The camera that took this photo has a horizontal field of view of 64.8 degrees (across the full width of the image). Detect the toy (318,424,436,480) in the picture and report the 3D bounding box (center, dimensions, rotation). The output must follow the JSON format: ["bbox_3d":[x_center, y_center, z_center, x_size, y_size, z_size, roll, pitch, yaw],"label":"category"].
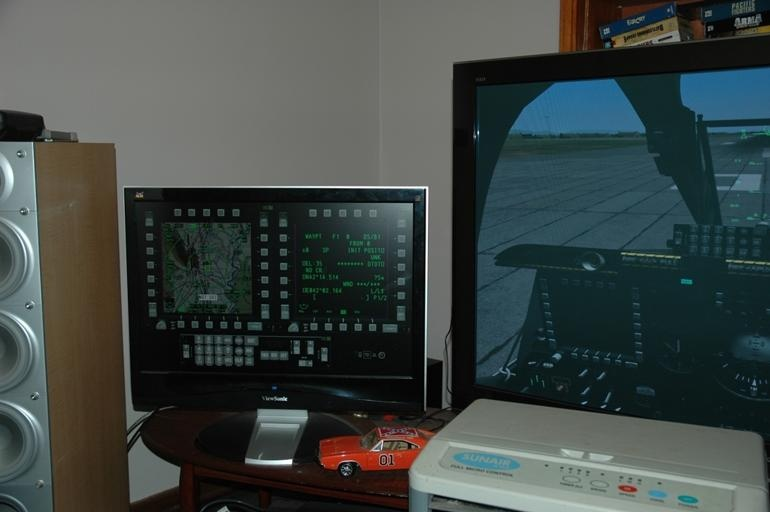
[{"bbox_3d":[-0.029,0.519,1.759,0.383,0.093,0.317,0,5,-3],"label":"toy"}]

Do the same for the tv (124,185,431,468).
[{"bbox_3d":[-0.299,0.123,1.741,0.943,0.731,0.095,1,9,-3],"label":"tv"}]
